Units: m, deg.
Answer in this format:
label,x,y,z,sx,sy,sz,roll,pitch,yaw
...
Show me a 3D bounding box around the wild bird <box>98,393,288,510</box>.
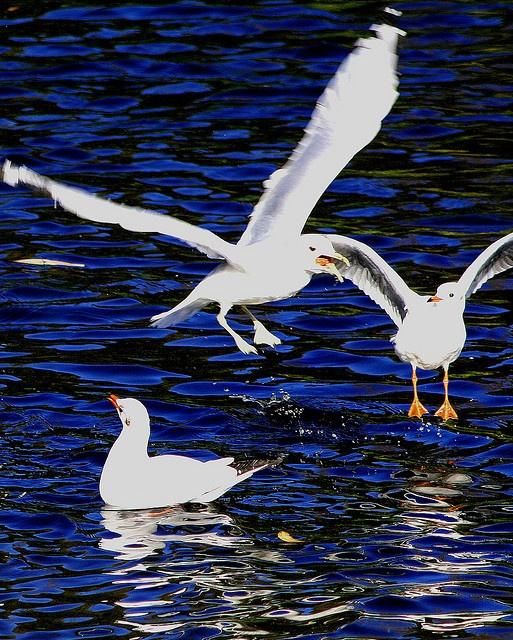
label,x,y,z,sx,sy,sz,roll,pitch,yaw
wild bird,-0.370,0.908,7.564,1.501,0.667,0.479,-3,3,31
